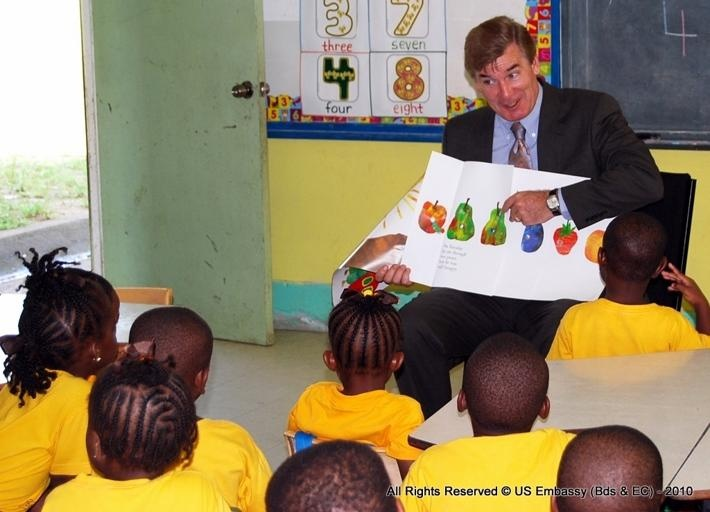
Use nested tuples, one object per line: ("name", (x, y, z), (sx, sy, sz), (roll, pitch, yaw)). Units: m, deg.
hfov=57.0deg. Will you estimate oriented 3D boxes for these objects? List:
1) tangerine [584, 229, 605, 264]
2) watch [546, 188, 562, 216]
("tangerine", (0.847, -0.034, 2.348), (0.057, 0.100, 0.092), (20, 3, 2))
("watch", (0.712, -0.191, 2.334), (0.054, 0.085, 0.083), (6, 5, 17))
